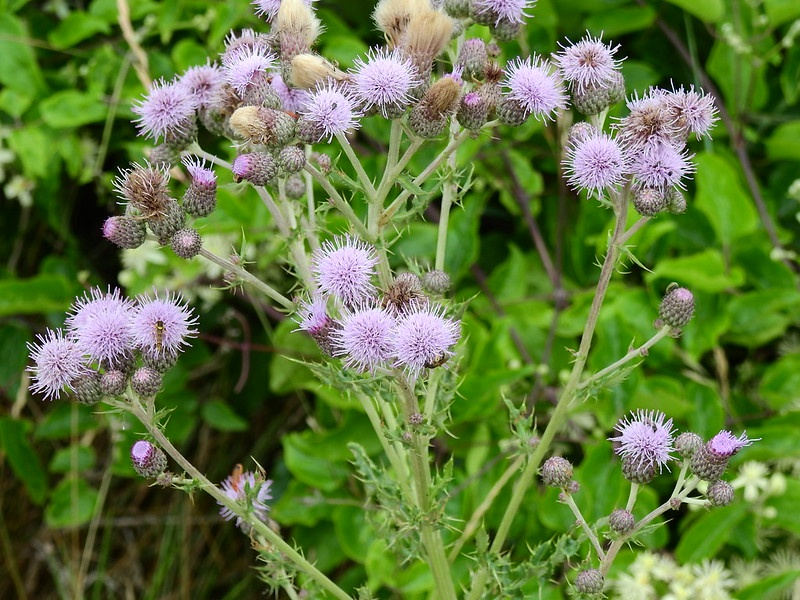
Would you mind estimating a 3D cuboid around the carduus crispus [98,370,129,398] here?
[{"bbox_3d":[-1.012,0.296,3.259,0.075,0.090,0.093,4,49,-1],"label":"carduus crispus"}]

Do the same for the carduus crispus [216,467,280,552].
[{"bbox_3d":[-0.568,0.735,3.435,0.166,0.180,0.245,7,85,2],"label":"carduus crispus"}]

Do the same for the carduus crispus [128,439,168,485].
[{"bbox_3d":[-0.920,0.574,3.301,0.102,0.133,0.148,11,82,14],"label":"carduus crispus"}]

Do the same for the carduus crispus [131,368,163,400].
[{"bbox_3d":[-0.897,0.295,3.275,0.084,0.104,0.116,-3,74,5],"label":"carduus crispus"}]

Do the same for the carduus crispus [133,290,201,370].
[{"bbox_3d":[-0.940,0.108,3.685,0.244,0.291,0.254,-24,43,-31],"label":"carduus crispus"}]
